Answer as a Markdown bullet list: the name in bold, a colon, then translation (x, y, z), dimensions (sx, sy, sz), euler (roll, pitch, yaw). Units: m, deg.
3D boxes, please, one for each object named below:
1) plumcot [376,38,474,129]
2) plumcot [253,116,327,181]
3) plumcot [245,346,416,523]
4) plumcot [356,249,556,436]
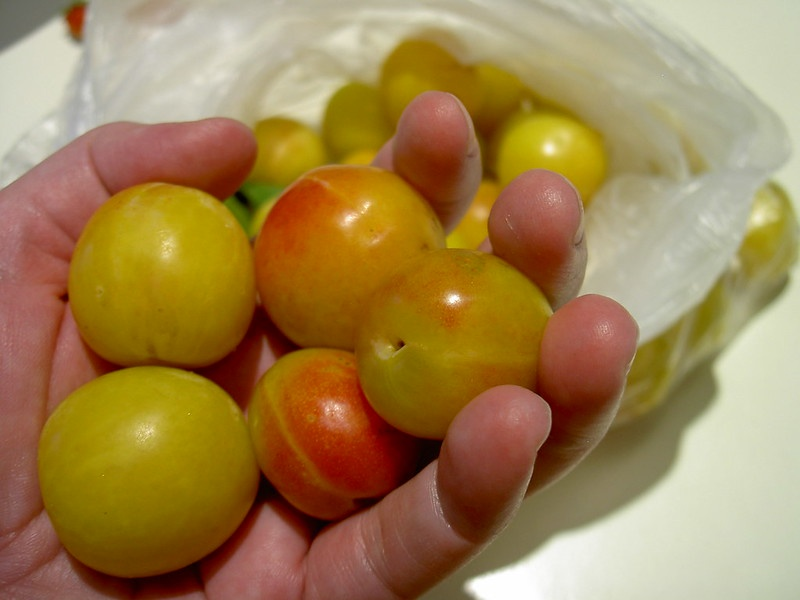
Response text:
- **plumcot**: translation (0.036, -0.282, 1.083), dimensions (0.104, 0.098, 0.055), euler (48, 54, -3)
- **plumcot**: translation (-0.157, -0.207, 1.126), dimensions (0.111, 0.078, 0.105), euler (2, 14, 26)
- **plumcot**: translation (-0.079, 0.141, 0.828), dimensions (0.131, 0.148, 0.163), euler (-7, 27, -39)
- **plumcot**: translation (0.048, 0.033, 0.754), dimensions (0.171, 0.084, 0.137), euler (-15, 65, -21)
